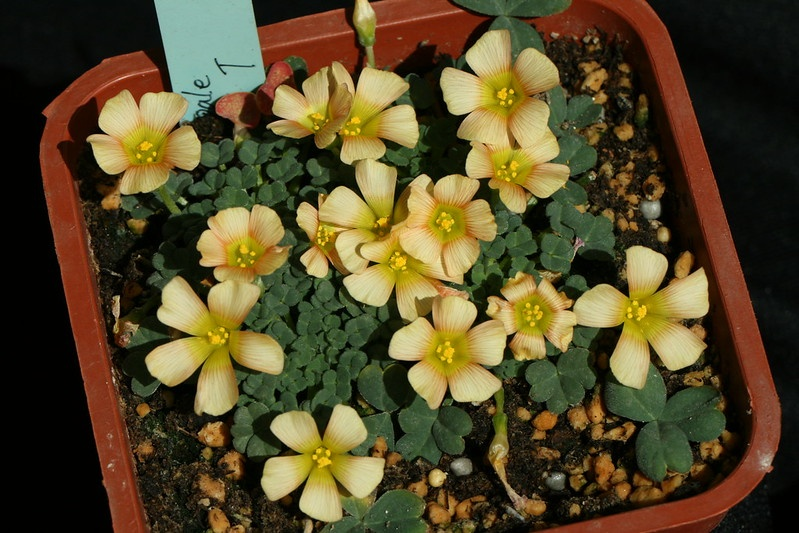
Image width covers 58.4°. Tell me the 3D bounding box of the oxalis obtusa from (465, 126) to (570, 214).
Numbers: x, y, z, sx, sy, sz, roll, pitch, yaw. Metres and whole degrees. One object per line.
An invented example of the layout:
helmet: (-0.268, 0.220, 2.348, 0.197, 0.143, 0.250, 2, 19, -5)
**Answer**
oxalis obtusa: (0.428, -0.424, 2.798, 0.336, 0.374, 0.170, 35, 83, -34)

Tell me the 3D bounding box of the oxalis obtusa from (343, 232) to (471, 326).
oxalis obtusa: (-0.020, -0.002, 2.640, 0.467, 0.467, 0.165, -10, 111, -31)

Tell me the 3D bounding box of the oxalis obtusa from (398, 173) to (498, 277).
oxalis obtusa: (0.175, -0.153, 2.550, 0.322, 0.165, 0.339, 20, 78, 5)

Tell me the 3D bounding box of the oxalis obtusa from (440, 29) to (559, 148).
oxalis obtusa: (0.368, -0.671, 2.723, 0.429, 0.150, 0.443, 6, 78, 2)

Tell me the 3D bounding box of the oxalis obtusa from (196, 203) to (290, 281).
oxalis obtusa: (-0.590, -0.070, 2.672, 0.369, 0.342, 0.177, -5, 71, -26)

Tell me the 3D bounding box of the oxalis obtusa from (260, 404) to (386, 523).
oxalis obtusa: (-0.283, 0.692, 2.525, 0.408, 0.114, 0.427, -34, 81, 2)

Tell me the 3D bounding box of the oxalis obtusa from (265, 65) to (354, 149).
oxalis obtusa: (-0.328, -0.585, 2.787, 0.292, 0.334, 0.151, -11, 70, -6)

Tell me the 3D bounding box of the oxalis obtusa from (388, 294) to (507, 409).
oxalis obtusa: (0.198, 0.351, 2.677, 0.383, 0.467, 0.372, -38, 78, -7)

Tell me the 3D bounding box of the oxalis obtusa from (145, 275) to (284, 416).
oxalis obtusa: (-0.644, 0.262, 2.563, 0.491, 0.167, 0.478, 36, 94, 11)

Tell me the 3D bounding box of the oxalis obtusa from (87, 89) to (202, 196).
oxalis obtusa: (-1.011, -0.484, 2.806, 0.488, 0.458, 0.240, -28, 95, -38)
